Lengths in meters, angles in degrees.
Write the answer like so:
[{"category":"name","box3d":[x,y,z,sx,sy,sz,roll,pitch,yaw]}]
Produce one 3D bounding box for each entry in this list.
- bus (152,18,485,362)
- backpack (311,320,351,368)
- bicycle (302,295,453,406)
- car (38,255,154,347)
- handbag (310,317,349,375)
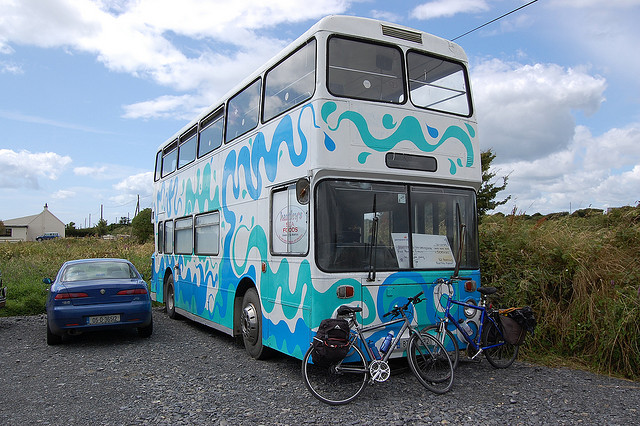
[{"category":"bus","box3d":[0.308,-0.129,7.644,2.777,4.131,7.329,2,-3,-25]},{"category":"backpack","box3d":[0.281,1.991,6.314,0.477,0.711,0.367,1,6,0]},{"category":"bicycle","box3d":[0.859,2.262,6.747,2.390,1.465,0.977,0,-3,-12]},{"category":"car","box3d":[-5.286,2.024,9.516,1.539,1.187,3.212,2,-3,-26]},{"category":"handbag","box3d":[0.238,2.053,6.307,0.470,0.731,0.404,7,-14,-17]}]
